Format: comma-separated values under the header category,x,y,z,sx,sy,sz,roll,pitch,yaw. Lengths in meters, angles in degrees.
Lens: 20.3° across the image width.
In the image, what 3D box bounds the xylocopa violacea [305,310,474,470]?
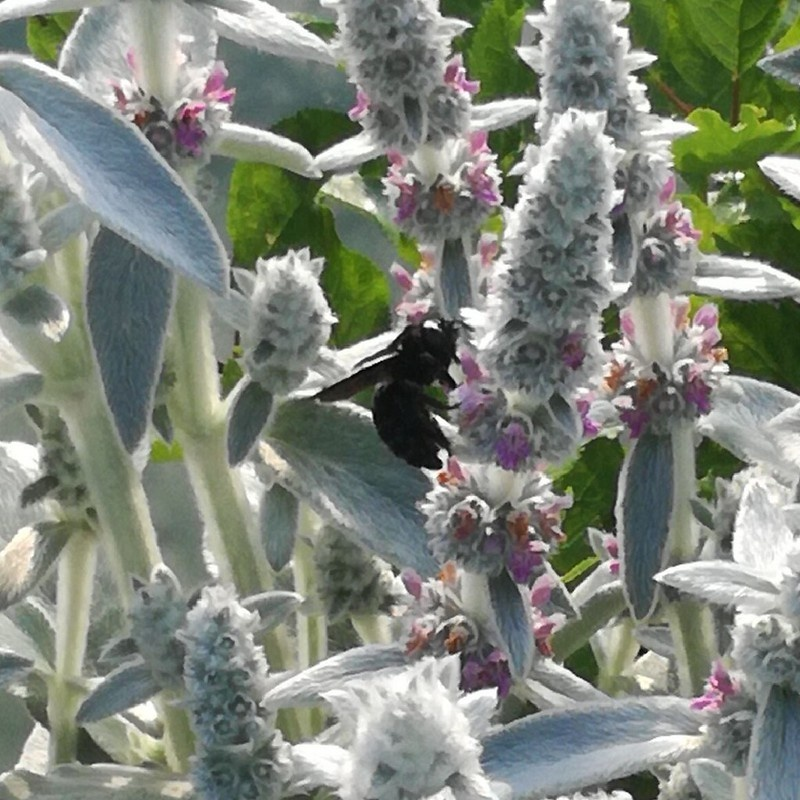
category,x,y,z,sx,sy,sz,roll,pitch,yaw
xylocopa violacea,0.006,-0.010,1.297,0.088,0.043,0.102,-44,-14,7
